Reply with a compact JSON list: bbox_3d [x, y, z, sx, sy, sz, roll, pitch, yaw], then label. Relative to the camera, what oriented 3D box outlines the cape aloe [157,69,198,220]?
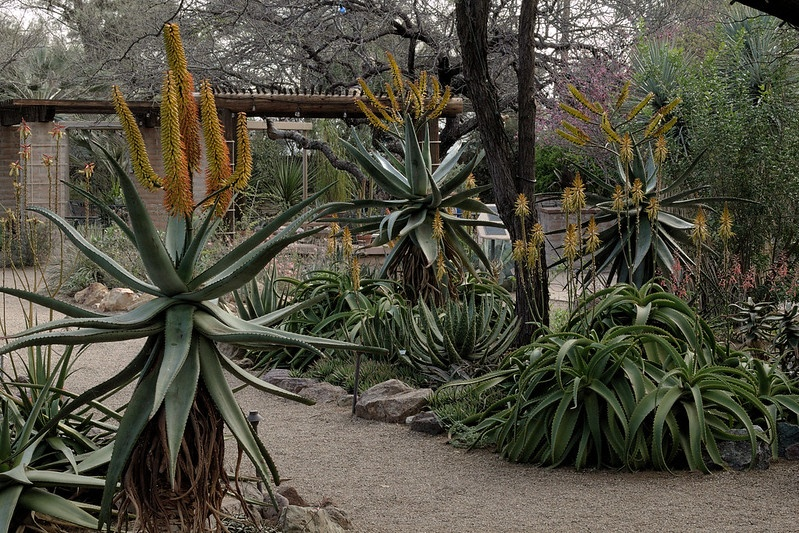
[{"bbox_3d":[-1.473,-0.807,5.880,0.192,0.949,0.171,-1,3,-15],"label":"cape aloe"}]

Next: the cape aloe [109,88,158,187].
[{"bbox_3d":[-1.782,-0.870,6.018,0.305,0.728,0.540,-1,3,-19],"label":"cape aloe"}]

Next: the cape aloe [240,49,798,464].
[{"bbox_3d":[1.404,-0.186,9.659,4.232,3.639,4.557,1,11,16],"label":"cape aloe"}]
